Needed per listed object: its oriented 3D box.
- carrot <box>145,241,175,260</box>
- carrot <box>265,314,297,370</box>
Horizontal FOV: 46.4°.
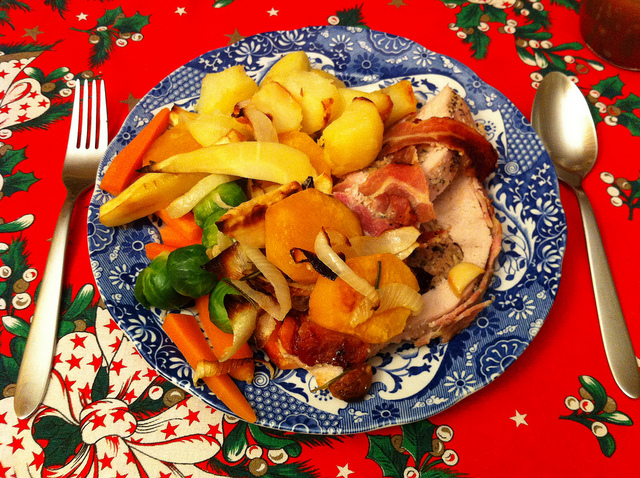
[{"bbox_3d":[-0.728,0.048,3.337,0.129,0.084,0.085,0,82,2],"label":"carrot"},{"bbox_3d":[-0.167,0.440,3.158,0.184,0.061,0.196,40,111,39],"label":"carrot"}]
